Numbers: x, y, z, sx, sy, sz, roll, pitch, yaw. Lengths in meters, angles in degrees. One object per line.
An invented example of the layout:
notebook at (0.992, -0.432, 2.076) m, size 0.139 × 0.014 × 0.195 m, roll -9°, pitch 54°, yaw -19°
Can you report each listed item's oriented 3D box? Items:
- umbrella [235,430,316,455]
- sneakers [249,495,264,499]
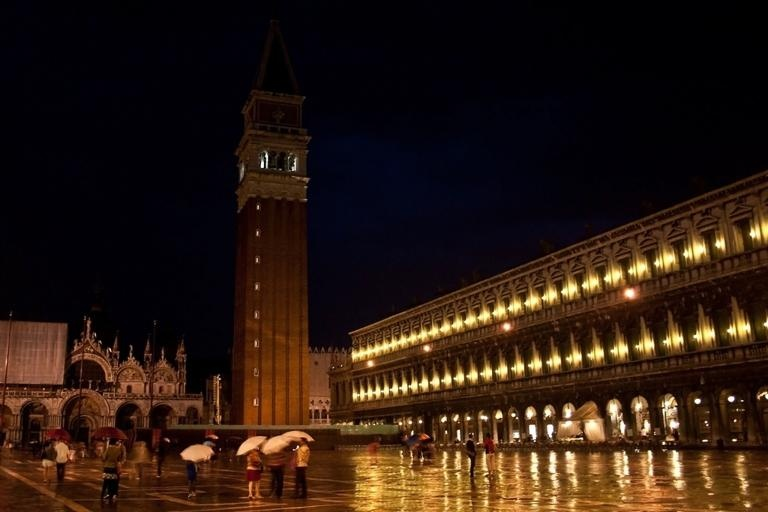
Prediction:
umbrella at (-5.687, 9.398, 34.555) m, size 3.171 × 1.138 × 3.390 m, roll 2°, pitch -11°, yaw -16°
sneakers at (-6.239, 11.690, 33.390) m, size 0.657 × 0.244 × 0.222 m, roll -13°, pitch -17°, yaw 28°
